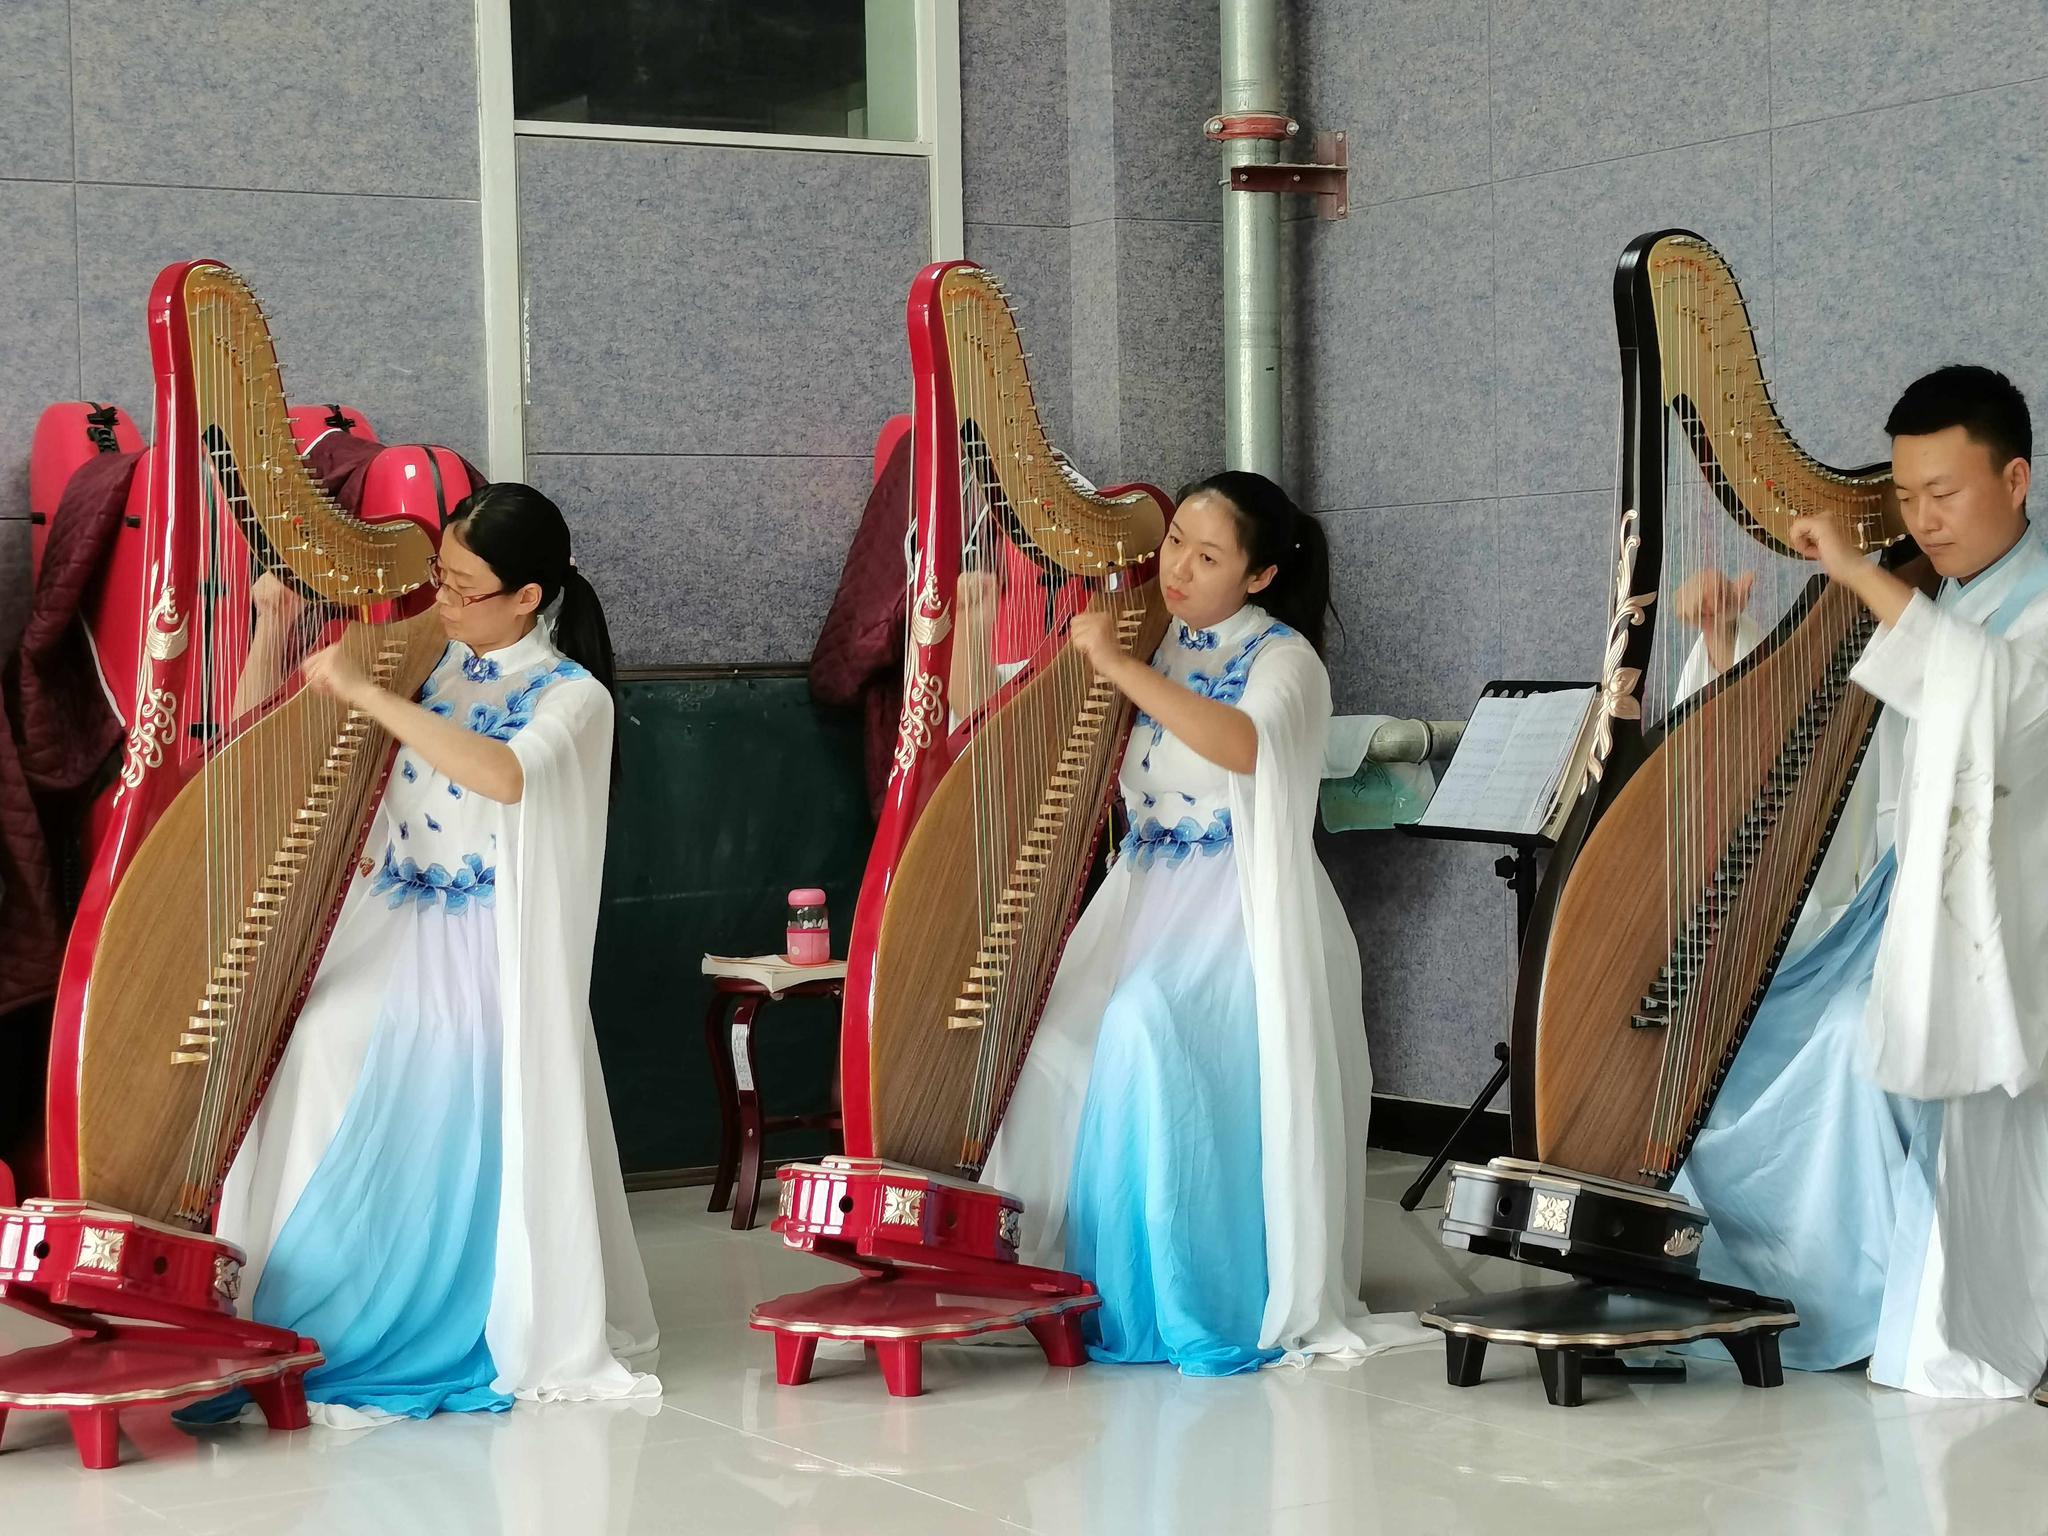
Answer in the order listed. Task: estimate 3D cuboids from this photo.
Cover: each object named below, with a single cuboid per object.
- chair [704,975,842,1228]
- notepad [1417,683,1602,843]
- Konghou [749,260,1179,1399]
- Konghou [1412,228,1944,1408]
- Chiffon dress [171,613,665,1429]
[{"bbox_3d":[-0.713,0.827,6.608,0.469,0.657,0.527,2,-12,-4],"label":"chair"},{"bbox_3d":[1.206,-0.029,6.181,0.091,0.421,0.384,37,-26,-31],"label":"notepad"},{"bbox_3d":[-0.081,0.124,4.868,0.810,2.131,0.310,-4,7,-32],"label":"Konghou"},{"bbox_3d":[1.200,0.104,4.709,0.866,2.149,0.363,-4,7,-34],"label":"Konghou"},{"bbox_3d":[-1.259,0.656,5.566,1.139,1.989,0.991,8,-6,-32],"label":"Chiffon dress"}]
